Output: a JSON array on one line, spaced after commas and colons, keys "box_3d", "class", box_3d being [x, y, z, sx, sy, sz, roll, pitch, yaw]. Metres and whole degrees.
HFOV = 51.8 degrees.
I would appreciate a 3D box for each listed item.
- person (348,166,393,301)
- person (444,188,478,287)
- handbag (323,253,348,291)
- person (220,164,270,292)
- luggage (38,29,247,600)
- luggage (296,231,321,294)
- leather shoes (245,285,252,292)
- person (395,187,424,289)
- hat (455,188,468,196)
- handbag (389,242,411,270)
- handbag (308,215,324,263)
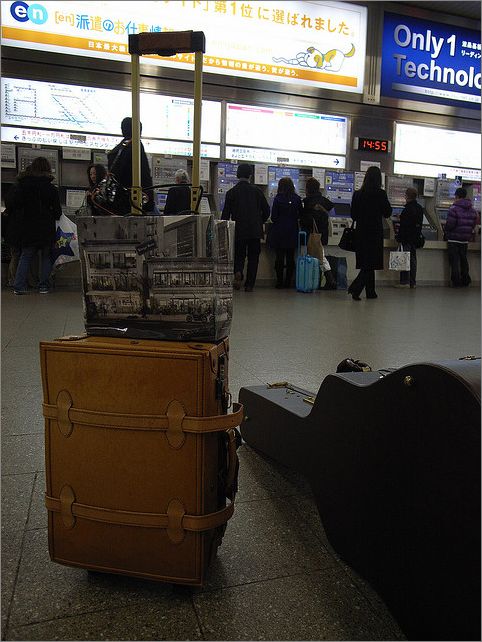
[{"box_3d": [1.618, -1.080, 6.190, 0.496, 1.637, 0.582, 2, 11, 5], "class": "person"}, {"box_3d": [3.769, -1.419, 8.522, 0.666, 1.645, 0.444, -7, 13, -36], "class": "person"}, {"box_3d": [1.495, -0.763, 7.882, 0.336, 0.902, 0.515, 1, 5, 13], "class": "handbag"}, {"box_3d": [0.072, -1.338, 6.936, 0.525, 1.875, 0.479, 2, 29, 2], "class": "person"}, {"box_3d": [-0.207, -0.052, 1.022, 0.423, 1.122, 0.420, 1, 11, 0], "class": "luggage"}, {"box_3d": [0.974, -0.843, 7.152, 0.333, 0.857, 0.767, 3, 12, 8], "class": "luggage"}, {"box_3d": [0.096, -0.449, 6.933, 0.074, 0.090, 0.136, 3, -7, 0], "class": "leather shoes"}, {"box_3d": [2.756, -1.320, 8.014, 0.401, 1.593, 0.773, 6, 12, 23], "class": "person"}, {"box_3d": [3.741, -2.166, 8.399, 0.154, 0.171, 0.361, 7, 14, 22], "class": "hat"}, {"box_3d": [2.555, -1.042, 7.943, 0.317, 0.641, 0.086, 1, -8, 4], "class": "handbag"}, {"box_3d": [1.044, -1.130, 7.149, 0.204, 0.648, 0.180, -4, -23, 20], "class": "handbag"}]
